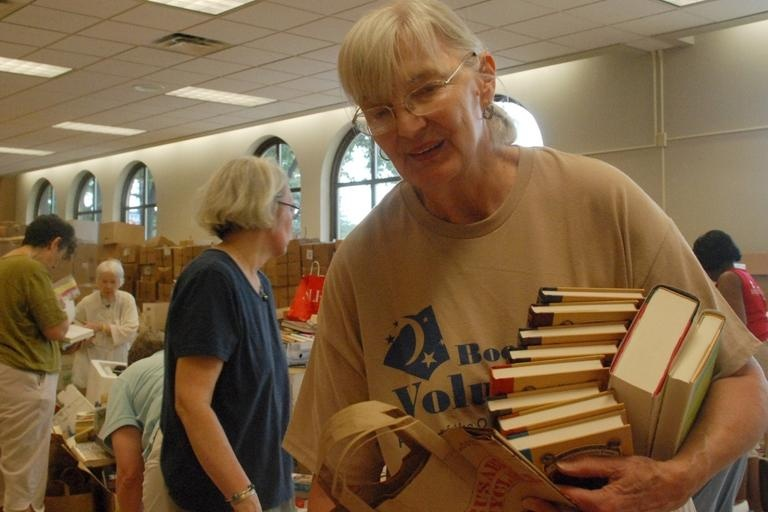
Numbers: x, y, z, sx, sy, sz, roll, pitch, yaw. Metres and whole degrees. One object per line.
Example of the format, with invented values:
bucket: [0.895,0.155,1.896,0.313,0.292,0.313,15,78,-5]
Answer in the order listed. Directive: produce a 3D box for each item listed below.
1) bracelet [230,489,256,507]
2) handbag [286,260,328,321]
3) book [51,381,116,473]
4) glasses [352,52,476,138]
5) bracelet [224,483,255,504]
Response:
bracelet: [-0.479,0.813,1.963,0.064,0.037,0.057,-32,-9,-9]
handbag: [-0.715,0.285,5.338,0.304,0.660,0.261,14,-37,6]
book: [-1.899,1.095,3.669,0.162,0.449,1.124,24,-16,-26]
glasses: [0.065,-0.400,1.350,0.219,0.069,0.211,-40,5,-38]
bracelet: [-0.493,0.807,1.960,0.072,0.030,0.065,-31,-7,-11]
